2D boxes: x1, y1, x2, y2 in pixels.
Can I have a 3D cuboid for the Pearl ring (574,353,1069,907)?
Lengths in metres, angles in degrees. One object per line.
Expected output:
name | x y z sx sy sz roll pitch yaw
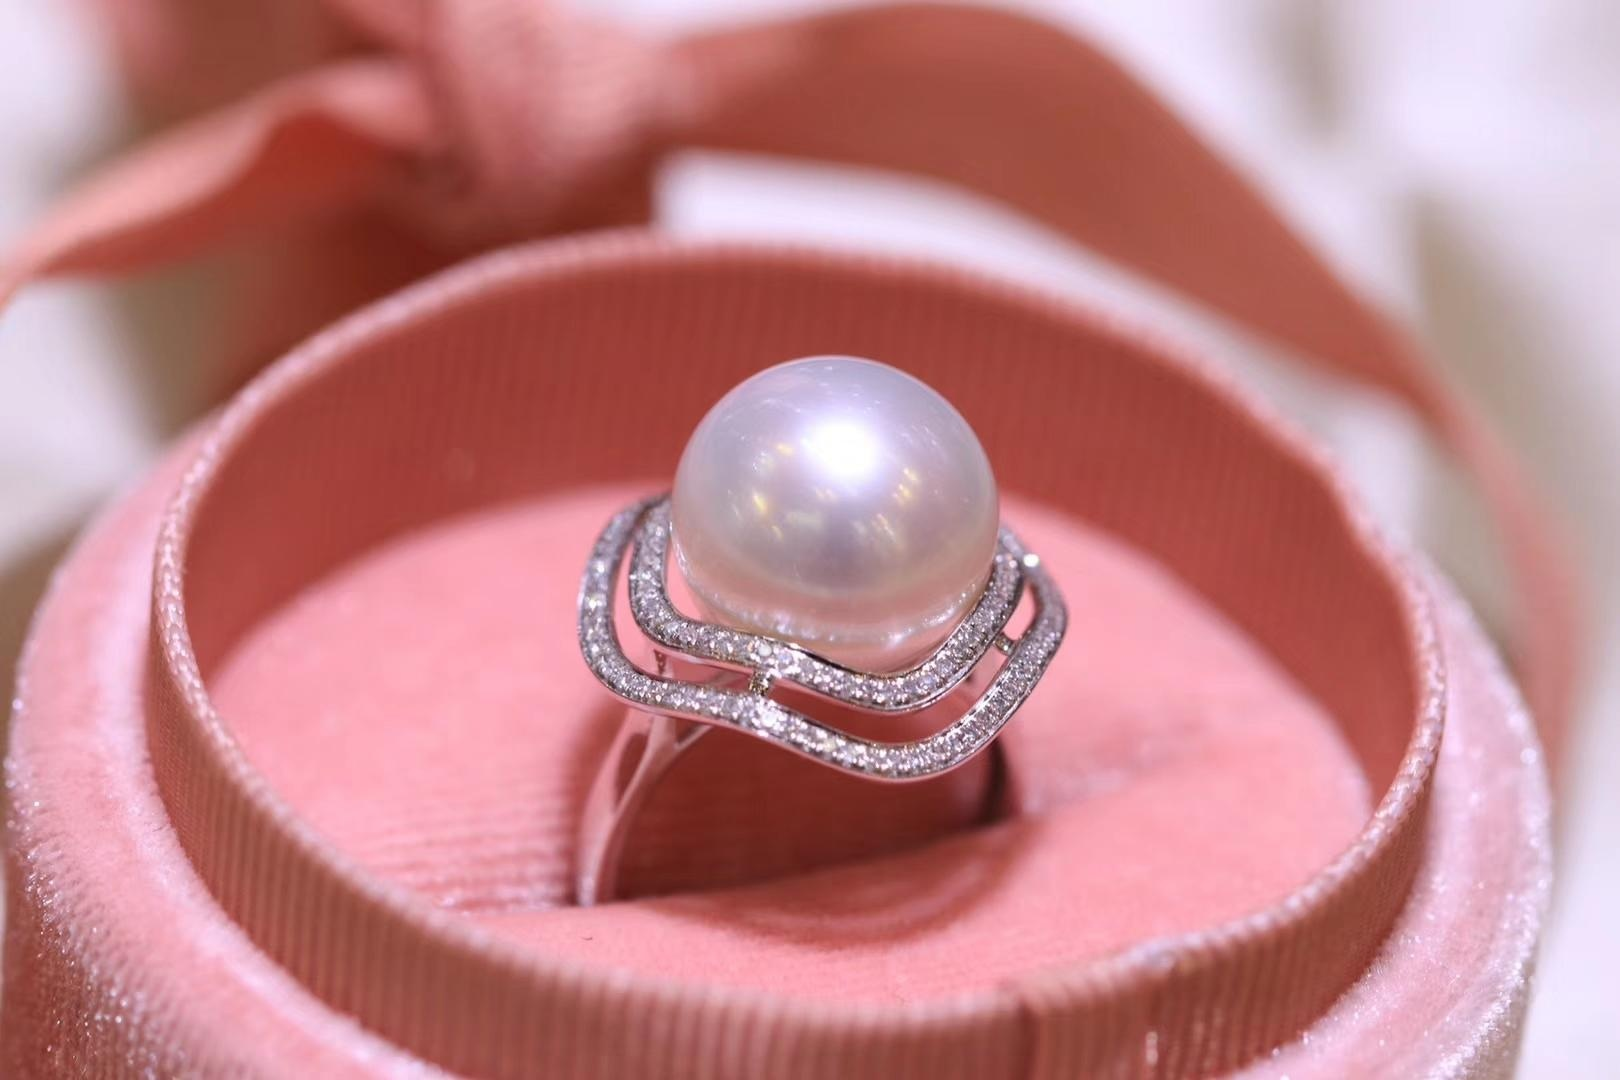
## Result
Pearl ring | 0.012 0.052 0.871 0.255 0.220 0.296 0 -58 4

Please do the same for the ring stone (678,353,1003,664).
ring stone | 0.008 -0.009 0.906 0.162 0.135 0.149 -9 -59 -15
